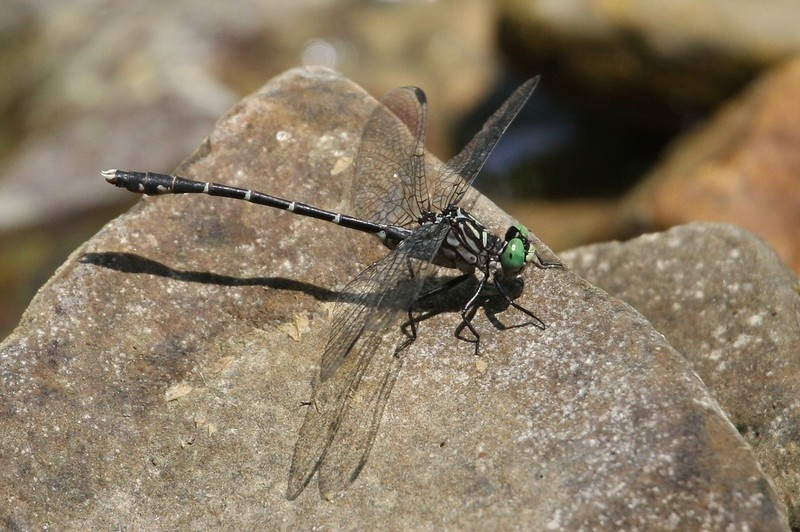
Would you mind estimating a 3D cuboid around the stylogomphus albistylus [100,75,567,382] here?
[{"bbox_3d":[-0.648,-0.390,10.033,4.089,1.412,3.699,11,47,10],"label":"stylogomphus albistylus"}]
